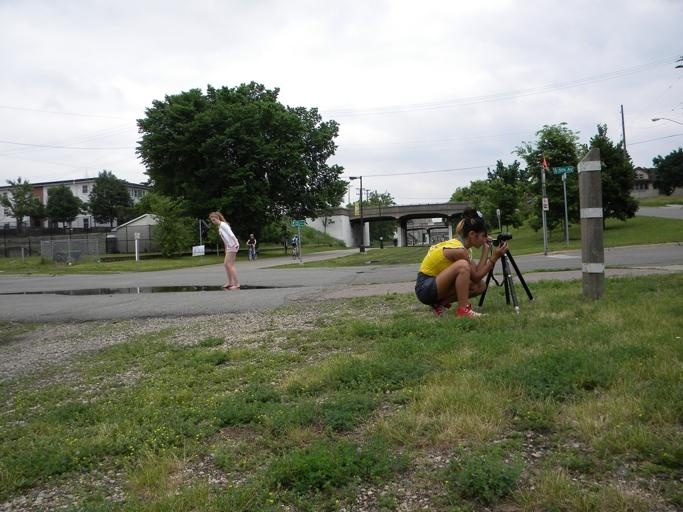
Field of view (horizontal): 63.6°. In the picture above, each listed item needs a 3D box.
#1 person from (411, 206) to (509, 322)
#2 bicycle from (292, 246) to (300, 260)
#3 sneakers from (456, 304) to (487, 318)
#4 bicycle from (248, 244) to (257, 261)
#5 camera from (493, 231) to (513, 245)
[{"bbox_3d":[1.689,0.077,7.979,1.240,1.527,0.845,-3,3,6],"label":"person"},{"bbox_3d":[-3.276,-0.181,39.252,0.690,0.934,1.474,1,12,0],"label":"bicycle"},{"bbox_3d":[1.792,0.758,7.720,0.432,0.217,0.158,1,1,-5],"label":"sneakers"},{"bbox_3d":[-6.667,-0.280,40.986,0.669,0.995,1.623,-1,-2,5],"label":"bicycle"},{"bbox_3d":[2.313,-0.252,7.903,0.191,0.120,0.184,-2,12,11],"label":"camera"}]
